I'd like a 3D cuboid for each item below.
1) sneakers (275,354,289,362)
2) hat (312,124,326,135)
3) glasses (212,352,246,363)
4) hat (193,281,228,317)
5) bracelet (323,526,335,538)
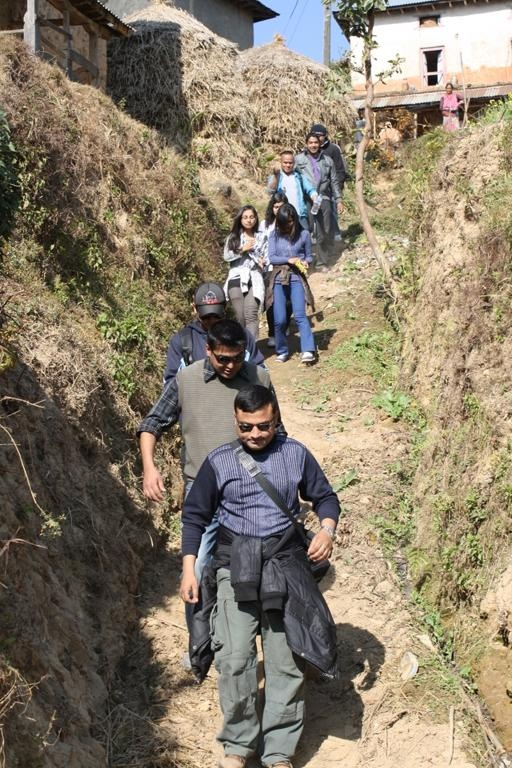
[{"bbox_3d":[0.294,-0.305,9.801,0.099,0.107,0.265,-2,-1,7],"label":"sneakers"},{"bbox_3d":[0.831,-3.502,11.988,0.196,0.190,0.254,4,16,13],"label":"hat"},{"bbox_3d":[-0.149,-0.147,4.616,0.166,0.080,0.108,-4,10,-3],"label":"glasses"},{"bbox_3d":[-0.269,-0.492,5.151,0.156,0.125,0.211,0,53,-1],"label":"hat"},{"bbox_3d":[0.360,0.710,4.259,0.052,0.013,0.054,32,-8,5],"label":"bracelet"}]
